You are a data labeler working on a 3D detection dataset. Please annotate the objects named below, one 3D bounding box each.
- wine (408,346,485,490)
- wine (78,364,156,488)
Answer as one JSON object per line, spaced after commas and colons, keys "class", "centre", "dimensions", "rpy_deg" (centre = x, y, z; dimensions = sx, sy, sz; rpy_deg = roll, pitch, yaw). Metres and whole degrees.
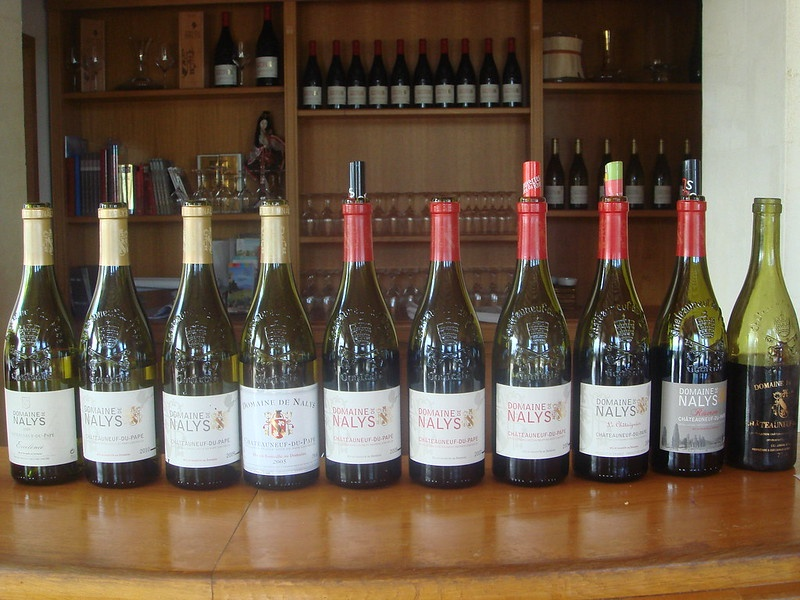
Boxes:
{"class": "wine", "centre": [0.069, 0.162, 1.503], "dimensions": [0.109, 0.204, 0.067], "rpy_deg": [-4, 7, 3]}
{"class": "wine", "centre": [-0.411, 0.180, 1.541], "dimensions": [0.100, 0.160, 0.090], "rpy_deg": [-7, -5, -5]}
